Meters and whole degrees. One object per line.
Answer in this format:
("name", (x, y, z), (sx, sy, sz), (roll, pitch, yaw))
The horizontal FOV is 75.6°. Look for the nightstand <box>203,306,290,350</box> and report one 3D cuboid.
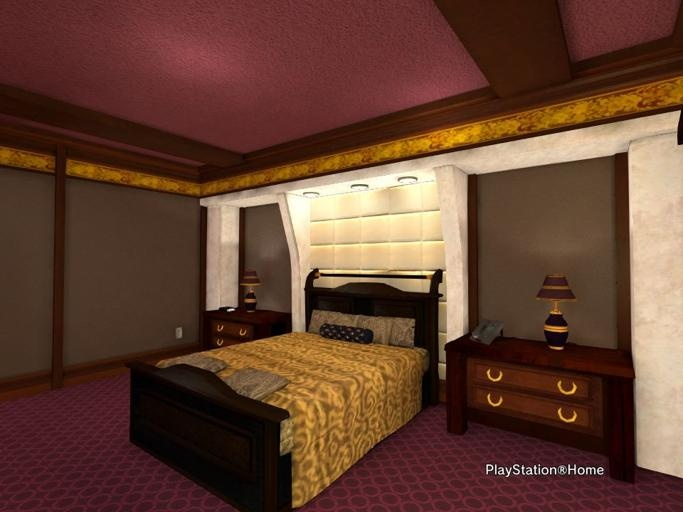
("nightstand", (-1.307, 1.021, 6.380), (1.165, 0.712, 0.613), (-4, -6, 43))
